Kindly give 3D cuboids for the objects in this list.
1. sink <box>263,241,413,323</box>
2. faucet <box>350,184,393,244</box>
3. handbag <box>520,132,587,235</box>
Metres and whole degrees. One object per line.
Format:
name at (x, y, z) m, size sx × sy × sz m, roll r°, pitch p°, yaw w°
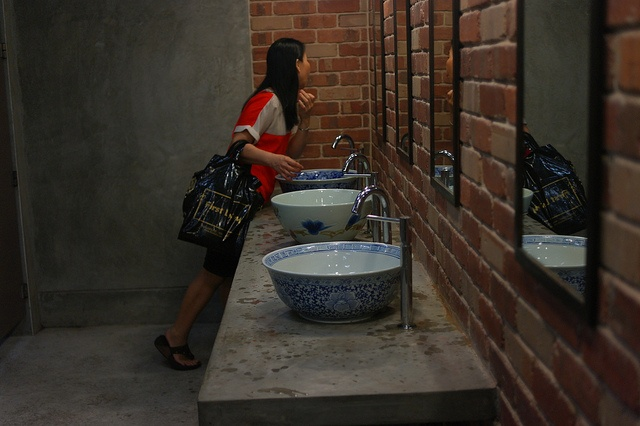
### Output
sink at (0.037, 0.202, 1.621) m, size 0.429 × 0.227 × 0.361 m, roll 0°, pitch 13°, yaw 4°
faucet at (0.176, 0.015, 1.668) m, size 0.134 × 0.194 × 0.043 m, roll -10°, pitch 22°, yaw -16°
handbag at (0.412, -0.053, 0.904) m, size 0.068 × 0.147 × 0.136 m, roll -28°, pitch 22°, yaw 10°
